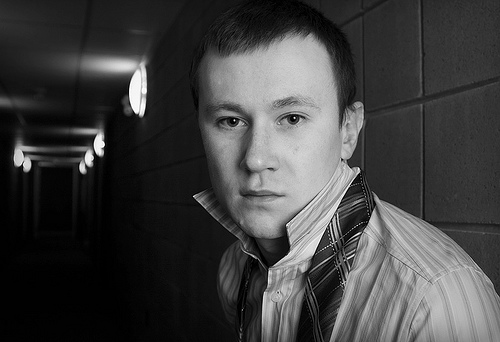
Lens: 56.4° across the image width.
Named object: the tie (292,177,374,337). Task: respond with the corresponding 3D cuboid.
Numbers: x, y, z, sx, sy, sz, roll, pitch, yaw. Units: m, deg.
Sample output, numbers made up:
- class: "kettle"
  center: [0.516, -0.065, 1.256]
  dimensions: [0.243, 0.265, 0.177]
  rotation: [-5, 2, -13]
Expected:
- class: "tie"
  center: [0.182, 0.172, 0.973]
  dimensions: [0.139, 0.333, 0.087]
  rotation: [6, -4, -42]
